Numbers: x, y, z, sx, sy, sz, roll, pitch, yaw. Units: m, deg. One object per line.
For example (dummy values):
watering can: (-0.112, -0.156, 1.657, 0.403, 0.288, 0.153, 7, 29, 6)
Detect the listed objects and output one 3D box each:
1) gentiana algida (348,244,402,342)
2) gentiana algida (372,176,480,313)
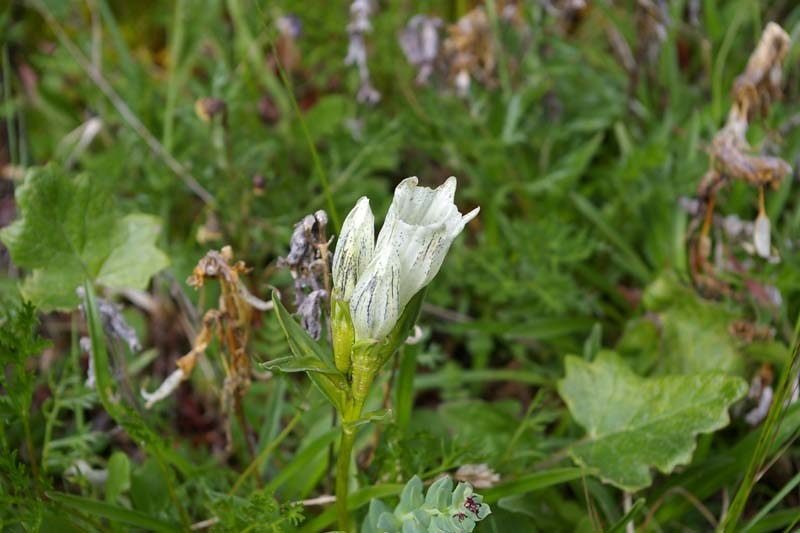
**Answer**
gentiana algida: (-0.046, 0.045, 1.470, 0.055, 0.174, 0.060, 20, 34, 4)
gentiana algida: (0.023, -0.053, 1.495, 0.180, 0.168, 0.130, -20, 49, -27)
